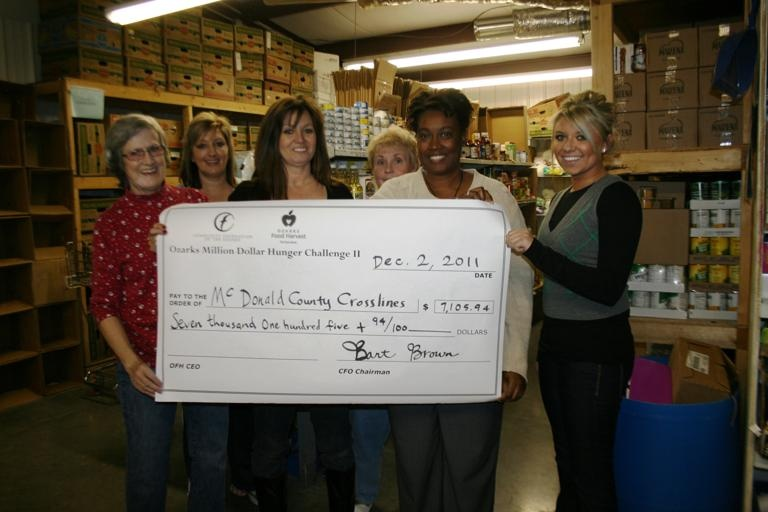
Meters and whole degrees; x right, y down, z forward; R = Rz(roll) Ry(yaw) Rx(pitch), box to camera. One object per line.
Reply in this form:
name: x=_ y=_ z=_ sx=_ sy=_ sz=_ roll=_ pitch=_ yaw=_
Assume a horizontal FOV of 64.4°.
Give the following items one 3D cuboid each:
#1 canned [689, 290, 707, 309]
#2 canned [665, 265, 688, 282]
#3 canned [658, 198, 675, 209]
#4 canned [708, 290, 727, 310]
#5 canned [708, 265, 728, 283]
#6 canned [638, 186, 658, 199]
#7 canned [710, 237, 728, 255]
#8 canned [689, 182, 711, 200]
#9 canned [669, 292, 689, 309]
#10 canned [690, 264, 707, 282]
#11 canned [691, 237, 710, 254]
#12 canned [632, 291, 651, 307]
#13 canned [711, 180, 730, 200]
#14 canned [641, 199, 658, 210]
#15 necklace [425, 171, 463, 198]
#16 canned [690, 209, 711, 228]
canned: x=2.381 y=0.327 z=4.652 sx=0.162 sy=0.148 sz=0.117 roll=3 pitch=-11 yaw=21
canned: x=2.223 y=0.125 z=4.643 sx=0.135 sy=0.137 sz=0.129 roll=4 pitch=10 yaw=7
canned: x=2.188 y=-0.415 z=4.677 sx=0.092 sy=0.083 sz=0.089 roll=3 pitch=9 yaw=14
canned: x=2.522 y=0.328 z=4.662 sx=0.134 sy=0.143 sz=0.129 roll=2 pitch=9 yaw=-7
canned: x=2.513 y=0.123 z=4.576 sx=0.141 sy=0.144 sz=0.138 roll=3 pitch=0 yaw=25
canned: x=2.055 y=-0.498 z=4.704 sx=0.124 sy=0.111 sz=0.085 roll=3 pitch=9 yaw=19
canned: x=2.522 y=-0.081 z=4.624 sx=0.135 sy=0.138 sz=0.130 roll=3 pitch=-3 yaw=-10
canned: x=2.397 y=-0.477 z=4.641 sx=0.137 sy=0.145 sz=0.136 roll=11 pitch=-14 yaw=-39
canned: x=2.273 y=0.333 z=4.649 sx=0.132 sy=0.119 sz=0.068 roll=-1 pitch=4 yaw=21
canned: x=2.394 y=0.123 z=4.615 sx=0.142 sy=0.119 sz=0.125 roll=-8 pitch=-3 yaw=30
canned: x=2.388 y=-0.086 z=4.634 sx=0.132 sy=0.133 sz=0.129 roll=0 pitch=5 yaw=-31
canned: x=2.004 y=0.323 z=4.698 sx=0.122 sy=0.106 sz=0.061 roll=-4 pitch=-5 yaw=25
canned: x=2.516 y=-0.503 z=4.569 sx=0.134 sy=0.133 sz=0.140 roll=3 pitch=11 yaw=-5
canned: x=2.062 y=-0.418 z=4.743 sx=0.109 sy=0.098 sz=0.105 roll=-2 pitch=9 yaw=-19
necklace: x=0.390 y=-0.409 z=3.433 sx=0.159 sy=0.162 sz=0.041 roll=-14 pitch=-1 yaw=-7
canned: x=2.390 y=-0.283 z=4.583 sx=0.136 sy=0.140 sz=0.131 roll=3 pitch=-2 yaw=1
